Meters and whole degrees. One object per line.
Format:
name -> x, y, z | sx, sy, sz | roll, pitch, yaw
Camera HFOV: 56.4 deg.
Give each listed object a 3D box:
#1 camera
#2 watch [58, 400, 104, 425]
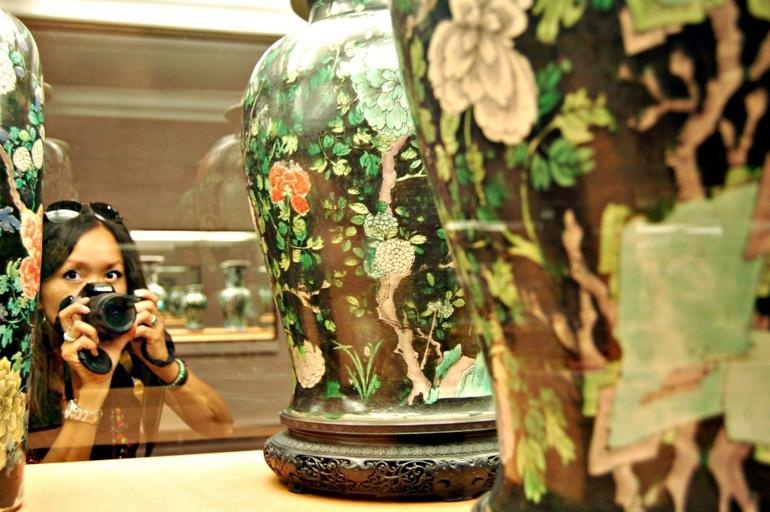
camera -> -0.457, 0.080, 1.178 | 0.115, 0.074, 0.091 | -18, 23, -22
watch -> -0.530, 0.277, 1.248 | 0.057, 0.037, 0.059 | -4, -7, 1
